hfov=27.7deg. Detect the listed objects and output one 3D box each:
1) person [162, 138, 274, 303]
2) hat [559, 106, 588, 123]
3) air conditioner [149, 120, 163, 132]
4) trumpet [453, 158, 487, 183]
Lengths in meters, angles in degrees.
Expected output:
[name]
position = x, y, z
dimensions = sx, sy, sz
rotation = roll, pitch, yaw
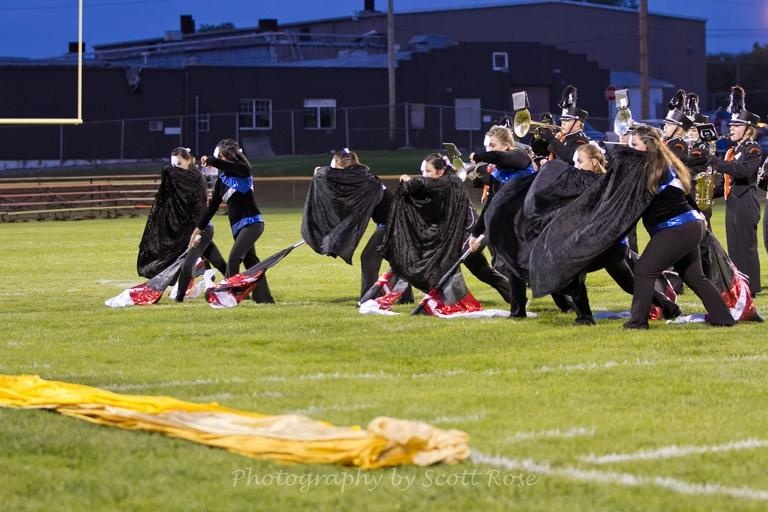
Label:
[person]
position = -2.727, -0.838, 27.733
dimensions = 1.189, 2.427, 0.591
rotation = 0, 3, -12
[hat]
position = 3.342, -2.493, 27.476
dimensions = 0.427, 0.174, 0.349
rotation = -3, 0, 6
[air conditioner]
position = -7.869, -4.435, 53.650
dimensions = 0.446, 0.363, 0.390
rotation = 2, -1, 0
[trumpet]
position = 1.480, -1.494, 27.415
dimensions = 0.594, 0.318, 0.284
rotation = -16, -27, -39
